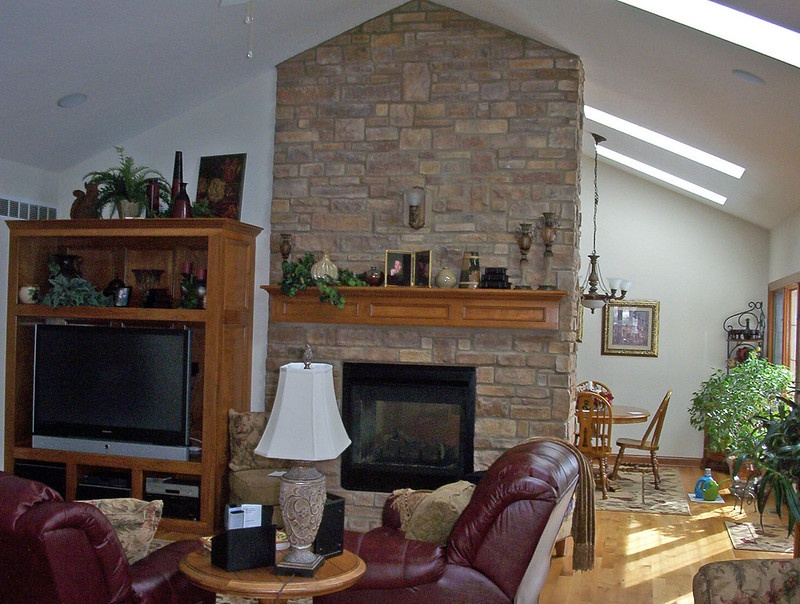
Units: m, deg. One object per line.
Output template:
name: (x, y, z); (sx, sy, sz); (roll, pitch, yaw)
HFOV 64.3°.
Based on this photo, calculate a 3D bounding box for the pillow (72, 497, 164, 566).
pillow: (-1.311, 1.100, 3.227); (0.392, 0.411, 0.120); (2, 11, -3)

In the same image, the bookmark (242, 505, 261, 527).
bookmark: (-0.745, 1.087, 3.236); (0.102, 0.121, 0.016); (2, -6, -34)

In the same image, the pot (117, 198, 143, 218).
pot: (-2.377, -0.823, 5.647); (0.185, 0.149, 0.183); (0, -4, 0)

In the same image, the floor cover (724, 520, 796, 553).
floor cover: (3.139, 2.055, 5.586); (0.506, 0.044, 0.834); (0, 0, 22)

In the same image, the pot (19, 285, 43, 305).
pot: (-3.331, -0.074, 5.804); (0.164, 0.166, 0.178); (2, 6, 0)

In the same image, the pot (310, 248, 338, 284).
pot: (-0.638, -0.324, 5.512); (0.244, 0.255, 0.244); (2, 4, 0)

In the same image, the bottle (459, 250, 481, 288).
bottle: (0.602, -0.275, 5.407); (0.183, 0.303, 0.119); (0, 0, -6)

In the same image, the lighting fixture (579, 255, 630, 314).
lighting fixture: (2.357, -0.125, 7.462); (0.682, 0.653, 0.827); (-1, -6, 15)

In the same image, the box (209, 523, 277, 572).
box: (-0.728, 1.121, 3.036); (0.227, 0.168, 0.222); (3, -2, -43)

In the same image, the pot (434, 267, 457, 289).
pot: (0.386, -0.212, 5.407); (0.165, 0.166, 0.167); (-2, 2, 0)

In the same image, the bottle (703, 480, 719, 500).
bottle: (3.268, 1.980, 6.736); (0.142, 0.215, 0.226); (0, 0, 29)

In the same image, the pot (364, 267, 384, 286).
pot: (-0.199, -0.216, 5.494); (0.157, 0.168, 0.131); (0, 0, -23)

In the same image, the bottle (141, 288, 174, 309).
bottle: (-2.113, -0.036, 5.654); (0.242, 0.181, 0.294); (0, 0, -21)

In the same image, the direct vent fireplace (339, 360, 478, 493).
direct vent fireplace: (0.128, 1.074, 5.429); (1.087, 1.069, 0.362); (0, -2, 9)

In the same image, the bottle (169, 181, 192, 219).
bottle: (-1.866, -0.890, 5.550); (0.139, 0.321, 0.220); (0, 0, -41)
